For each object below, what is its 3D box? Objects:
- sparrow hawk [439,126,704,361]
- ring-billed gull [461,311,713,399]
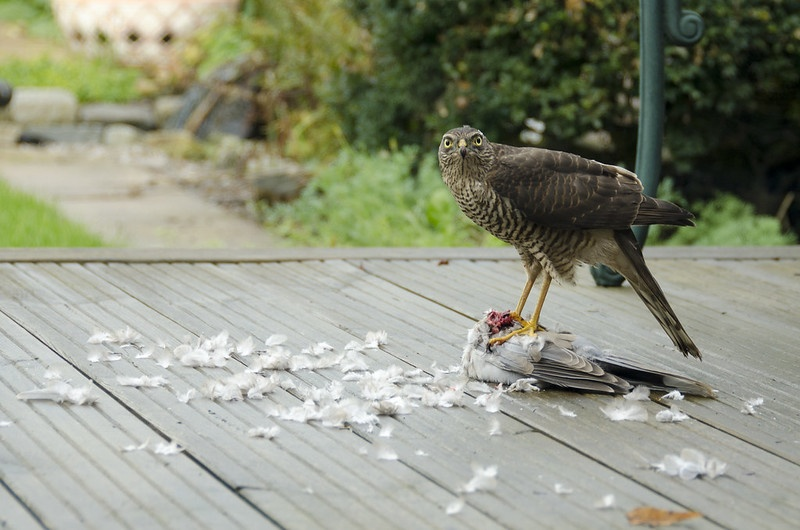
[{"bbox_3d":[0.907,-0.122,5.904,1.527,1.087,0.513,2,-4,-23],"label":"sparrow hawk"},{"bbox_3d":[0.882,0.508,5.496,1.123,0.301,0.315,14,18,15],"label":"ring-billed gull"}]
